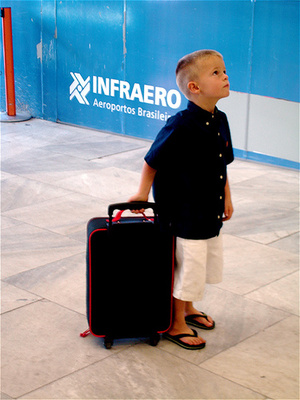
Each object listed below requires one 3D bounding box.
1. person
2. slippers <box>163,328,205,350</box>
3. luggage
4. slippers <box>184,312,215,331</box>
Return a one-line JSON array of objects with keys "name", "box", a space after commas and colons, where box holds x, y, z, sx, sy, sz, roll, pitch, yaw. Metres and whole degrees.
[{"name": "person", "box": [0.181, 0.021, 1.747, 0.322, 1.316, 0.529, 10, 14, 38]}, {"name": "slippers", "box": [0.156, 0.643, 1.816, 0.132, 0.036, 0.078, 12, 24, 34]}, {"name": "luggage", "box": [-0.104, 0.316, 1.781, 0.384, 0.635, 0.255, -3, 13, -17]}, {"name": "slippers", "box": [0.261, 0.603, 1.993, 0.133, 0.041, 0.070, 11, 24, 28]}]
